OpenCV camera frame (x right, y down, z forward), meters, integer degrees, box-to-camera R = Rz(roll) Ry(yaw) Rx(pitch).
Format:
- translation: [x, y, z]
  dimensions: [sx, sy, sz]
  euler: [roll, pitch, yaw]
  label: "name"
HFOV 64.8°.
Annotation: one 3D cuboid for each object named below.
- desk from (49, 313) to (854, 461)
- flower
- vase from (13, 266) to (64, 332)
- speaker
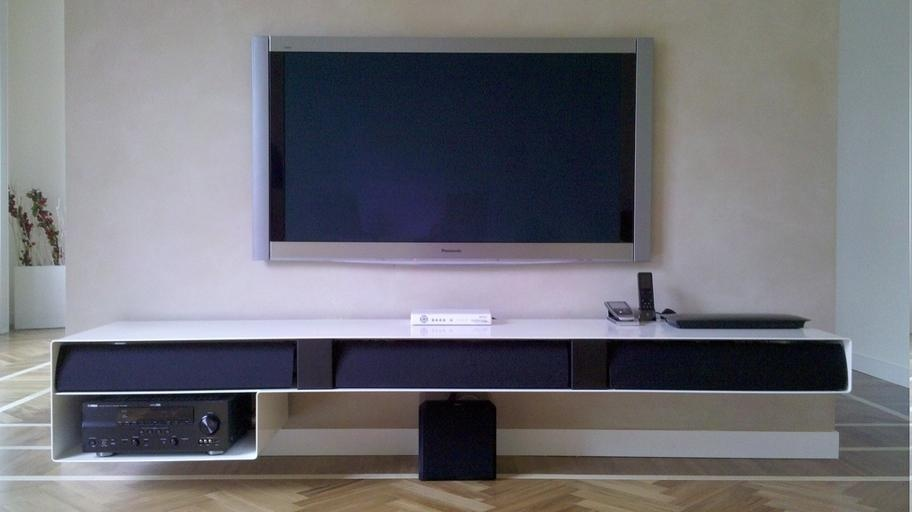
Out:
- translation: [0.091, 0.953, 4.902]
  dimensions: [5.198, 1.040, 0.494]
  euler: [-1, 8, -1]
  label: "desk"
- translation: [-4.640, -0.341, 7.964]
  dimensions: [0.475, 0.875, 0.281]
  euler: [-5, 9, -27]
  label: "flower"
- translation: [-4.501, 0.440, 7.777]
  dimensions: [0.510, 0.680, 0.192]
  euler: [-6, 9, -29]
  label: "vase"
- translation: [0.014, 1.265, 5.084]
  dimensions: [0.584, 0.496, 0.543]
  euler: [0, -5, -1]
  label: "speaker"
